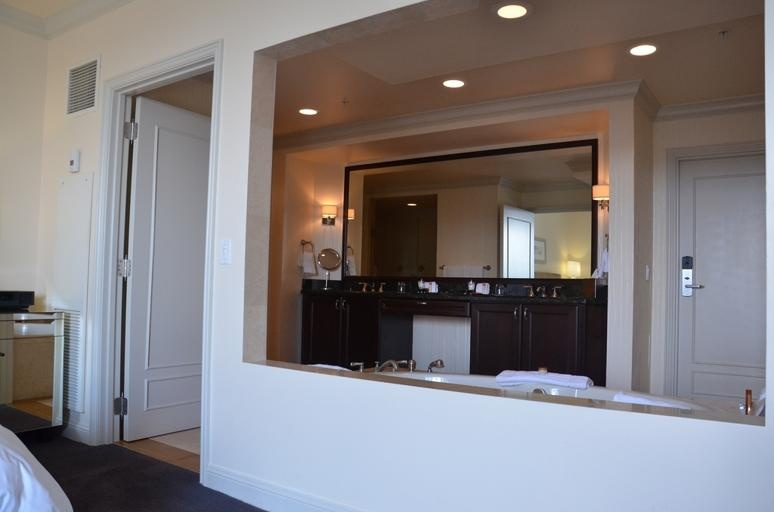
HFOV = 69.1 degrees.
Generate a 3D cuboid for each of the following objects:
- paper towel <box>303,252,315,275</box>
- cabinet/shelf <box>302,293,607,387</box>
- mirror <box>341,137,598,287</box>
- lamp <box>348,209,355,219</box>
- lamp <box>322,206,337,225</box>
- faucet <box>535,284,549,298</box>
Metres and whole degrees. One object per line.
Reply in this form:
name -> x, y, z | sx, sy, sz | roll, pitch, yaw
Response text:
paper towel -> -0.986, 0.093, 7.113 | 0.230, 0.234, 0.066 | 4, -9, -43
cabinet/shelf -> 0.536, 0.816, 5.852 | 3.266, 0.862, 0.456 | -2, 10, 32
mirror -> 0.917, -0.276, 6.408 | 2.974, 1.413, 0.125 | 2, -8, -2
lamp -> -0.458, -0.541, 7.179 | 0.112, 0.127, 0.117 | 3, 3, 38
lamp -> -0.729, -0.525, 7.244 | 0.225, 0.267, 0.229 | 2, 4, 26
faucet -> 1.596, 0.358, 5.848 | 0.133, 0.063, 0.145 | 4, 8, 37
